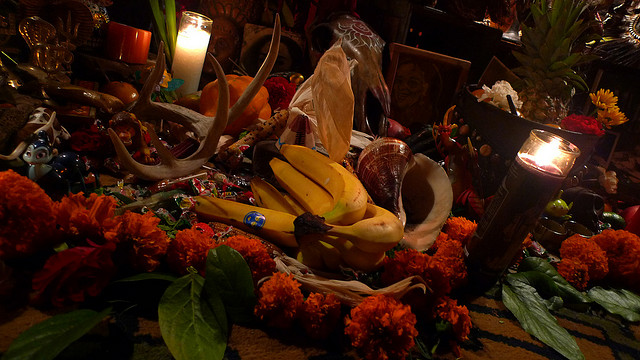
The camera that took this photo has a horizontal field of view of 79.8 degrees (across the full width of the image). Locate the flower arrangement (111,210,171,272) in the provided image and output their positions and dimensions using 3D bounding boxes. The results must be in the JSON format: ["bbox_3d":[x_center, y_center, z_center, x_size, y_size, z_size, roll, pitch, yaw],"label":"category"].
[{"bbox_3d":[-0.541,0.197,1.169,0.158,0.187,0.089,8,16,-25],"label":"flower arrangement"}]

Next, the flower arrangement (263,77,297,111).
[{"bbox_3d":[-0.202,-0.431,1.915,0.144,0.158,0.118,16,15,6],"label":"flower arrangement"}]

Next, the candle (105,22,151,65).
[{"bbox_3d":[-0.906,-0.642,1.810,0.177,0.161,0.077,8,16,-24],"label":"candle"}]

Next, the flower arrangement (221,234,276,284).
[{"bbox_3d":[-0.219,0.248,1.231,0.173,0.123,0.114,19,15,18],"label":"flower arrangement"}]

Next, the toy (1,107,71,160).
[{"bbox_3d":[-0.964,-0.219,1.453,0.286,0.155,0.309,-15,29,-29],"label":"toy"}]

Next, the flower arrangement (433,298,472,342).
[{"bbox_3d":[0.429,0.453,1.228,0.156,0.133,0.047,13,15,-5],"label":"flower arrangement"}]

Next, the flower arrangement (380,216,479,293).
[{"bbox_3d":[0.410,0.245,1.334,0.208,0.226,0.393,25,18,36],"label":"flower arrangement"}]

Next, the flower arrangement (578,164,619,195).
[{"bbox_3d":[1.486,-0.008,2.039,0.168,0.117,0.153,22,17,28],"label":"flower arrangement"}]

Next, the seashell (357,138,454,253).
[{"bbox_3d":[0.321,0.066,1.453,0.360,0.388,0.159,3,-9,8],"label":"seashell"}]

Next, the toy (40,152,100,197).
[{"bbox_3d":[-0.881,-0.024,1.322,0.087,0.124,0.217,-7,4,21],"label":"toy"}]

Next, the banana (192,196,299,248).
[{"bbox_3d":[-0.252,0.115,1.329,0.189,0.169,0.305,4,3,18],"label":"banana"}]

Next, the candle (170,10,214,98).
[{"bbox_3d":[-0.634,-0.607,1.874,0.154,0.402,0.138,8,16,-23],"label":"candle"}]

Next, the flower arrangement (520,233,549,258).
[{"bbox_3d":[0.848,0.260,1.519,0.123,0.065,0.045,53,-4,7],"label":"flower arrangement"}]

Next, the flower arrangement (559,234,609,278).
[{"bbox_3d":[1.037,0.284,1.528,0.160,0.177,0.129,2,1,15],"label":"flower arrangement"}]

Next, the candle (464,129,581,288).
[{"bbox_3d":[0.683,0.108,1.362,0.158,0.535,0.159,-1,30,-42],"label":"candle"}]

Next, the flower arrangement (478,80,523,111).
[{"bbox_3d":[0.800,-0.372,1.675,0.163,0.123,0.233,23,17,29],"label":"flower arrangement"}]

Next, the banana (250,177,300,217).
[{"bbox_3d":[-0.179,0.059,1.420,0.231,0.076,0.084,41,6,21],"label":"banana"}]
